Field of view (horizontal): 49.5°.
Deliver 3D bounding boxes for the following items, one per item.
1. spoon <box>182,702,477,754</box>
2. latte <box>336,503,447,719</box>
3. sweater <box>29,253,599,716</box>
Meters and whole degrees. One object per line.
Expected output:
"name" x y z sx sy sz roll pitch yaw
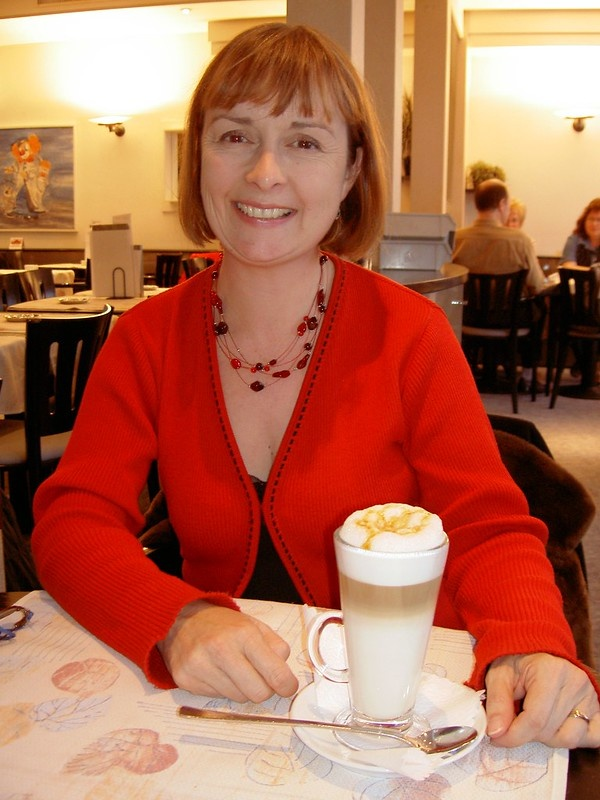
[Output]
"spoon" 0.026 0.248 0.488 0.168 0.017 0.034 -4 -3 6
"latte" 0.071 0.165 0.506 0.081 0.156 0.087 11 18 35
"sweater" -0.015 0.156 0.884 0.696 0.444 0.494 0 6 0
